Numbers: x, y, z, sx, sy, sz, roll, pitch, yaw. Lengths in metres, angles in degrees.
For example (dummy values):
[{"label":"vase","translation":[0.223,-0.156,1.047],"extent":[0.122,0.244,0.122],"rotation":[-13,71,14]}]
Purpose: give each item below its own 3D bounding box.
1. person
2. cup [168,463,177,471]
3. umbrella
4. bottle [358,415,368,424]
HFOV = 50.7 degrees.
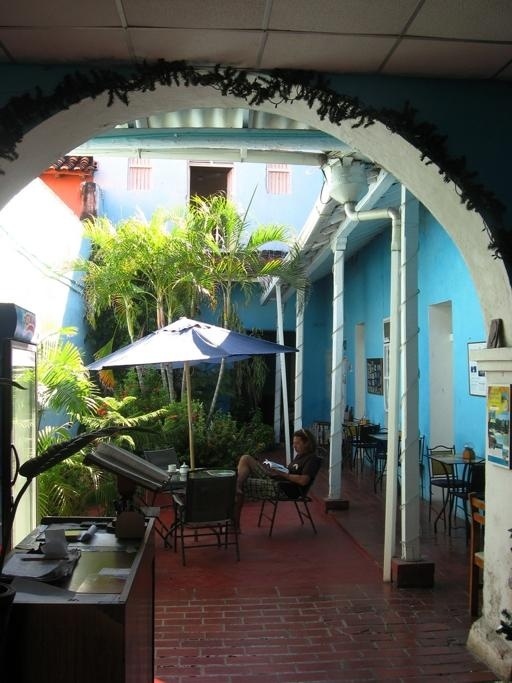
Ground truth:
[{"label":"person","translation":[0.196,1.620,6.299],"extent":[1.052,1.093,0.629],"rotation":[5,-9,-19]},{"label":"cup","translation":[-0.949,1.458,6.193],"extent":[0.109,0.073,0.112],"rotation":[1,-5,0]},{"label":"umbrella","translation":[-0.569,0.006,5.753],"extent":[2.149,1.410,2.169],"rotation":[-9,5,-21]},{"label":"bottle","translation":[2.220,1.622,11.141],"extent":[0.194,0.123,0.179],"rotation":[-2,-8,0]}]
